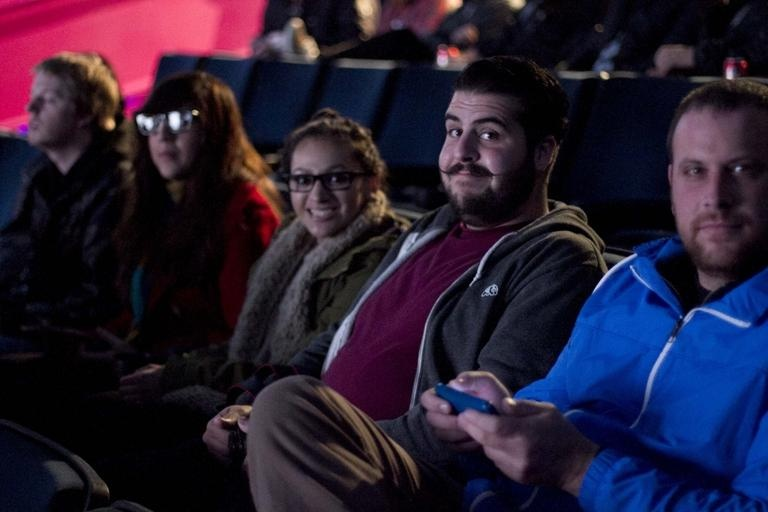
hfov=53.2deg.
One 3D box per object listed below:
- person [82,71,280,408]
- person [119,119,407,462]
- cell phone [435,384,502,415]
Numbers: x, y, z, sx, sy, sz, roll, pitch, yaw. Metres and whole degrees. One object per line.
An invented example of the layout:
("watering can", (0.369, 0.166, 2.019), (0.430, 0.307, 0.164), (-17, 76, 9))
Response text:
("person", (-0.887, 0.106, 3.368), (0.890, 1.778, 0.787), (2, 15, -23))
("person", (-0.512, -0.004, 3.308), (1.257, 1.309, 0.826), (9, 2, -23))
("cell phone", (0.209, 0.348, 1.978), (0.061, 0.057, 0.216), (33, -12, -27))
